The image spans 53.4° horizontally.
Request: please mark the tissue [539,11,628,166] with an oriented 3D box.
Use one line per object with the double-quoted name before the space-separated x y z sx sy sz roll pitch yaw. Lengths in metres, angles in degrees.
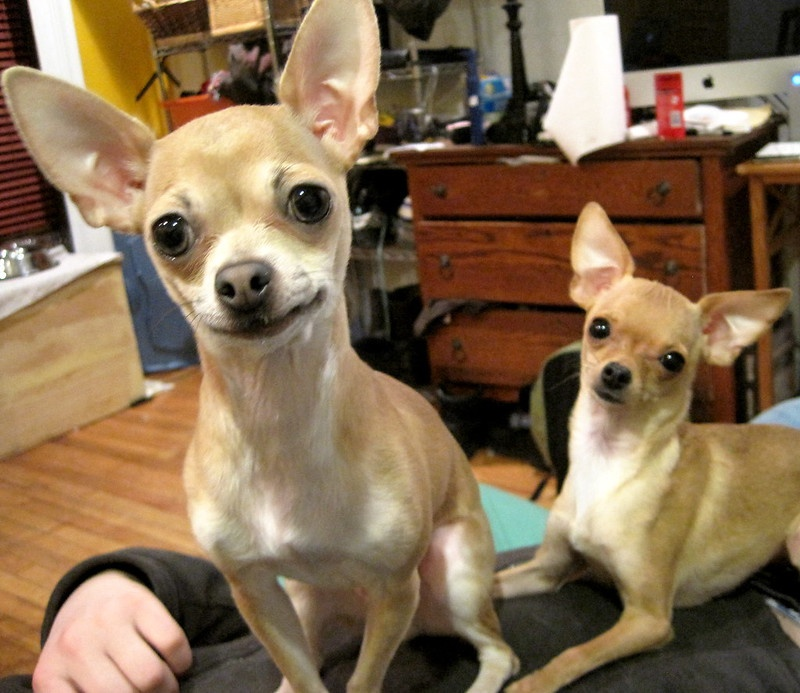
"tissue" 0.501 -0.686 2.147 0.220 0.367 0.166 -1 23 14
